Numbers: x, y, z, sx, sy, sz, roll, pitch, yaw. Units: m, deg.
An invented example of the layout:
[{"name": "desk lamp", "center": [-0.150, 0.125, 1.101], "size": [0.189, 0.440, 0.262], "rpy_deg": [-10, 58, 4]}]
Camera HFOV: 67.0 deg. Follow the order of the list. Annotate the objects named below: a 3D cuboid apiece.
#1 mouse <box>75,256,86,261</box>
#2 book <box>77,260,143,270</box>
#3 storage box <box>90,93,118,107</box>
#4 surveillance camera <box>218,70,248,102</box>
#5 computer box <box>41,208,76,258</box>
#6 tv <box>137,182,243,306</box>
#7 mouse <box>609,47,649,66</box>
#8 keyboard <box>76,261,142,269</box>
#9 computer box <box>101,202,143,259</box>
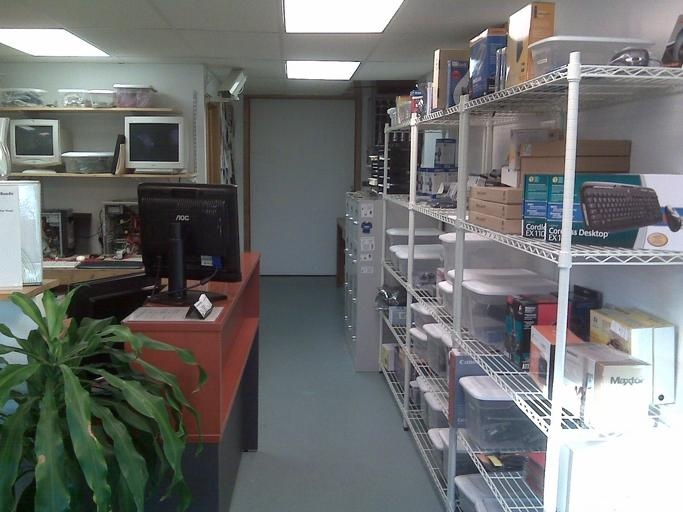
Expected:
[{"name": "mouse", "center": [-2.381, 0.017, 4.702], "size": [0.059, 0.023, 0.058], "rpy_deg": [-7, 18, -39]}, {"name": "book", "center": [-2.060, 0.083, 4.552], "size": [0.469, 0.035, 0.353], "rpy_deg": [-5, 11, -20]}, {"name": "storage box", "center": [-2.227, -1.446, 4.795], "size": [0.169, 0.115, 0.144], "rpy_deg": [-1, 9, -22]}, {"name": "surveillance camera", "center": [-1.134, -1.784, 5.387], "size": [0.230, 0.314, 0.435], "rpy_deg": [3, 12, 12]}, {"name": "computer box", "center": [-2.734, -0.196, 4.985], "size": [0.348, 0.478, 0.346], "rpy_deg": [-5, 10, -39]}, {"name": "tv", "center": [-0.728, -0.056, 2.443], "size": [0.498, 0.525, 0.284], "rpy_deg": [3, 16, 3]}, {"name": "mouse", "center": [0.996, -0.670, 1.775], "size": [0.101, 0.042, 0.074], "rpy_deg": [-14, 17, -42]}, {"name": "keyboard", "center": [-2.071, 0.079, 4.558], "size": [0.270, 0.020, 0.156], "rpy_deg": [-3, 11, -12]}, {"name": "computer box", "center": [-2.170, -0.337, 5.052], "size": [0.345, 0.618, 0.353], "rpy_deg": [-2, 27, -27]}]
